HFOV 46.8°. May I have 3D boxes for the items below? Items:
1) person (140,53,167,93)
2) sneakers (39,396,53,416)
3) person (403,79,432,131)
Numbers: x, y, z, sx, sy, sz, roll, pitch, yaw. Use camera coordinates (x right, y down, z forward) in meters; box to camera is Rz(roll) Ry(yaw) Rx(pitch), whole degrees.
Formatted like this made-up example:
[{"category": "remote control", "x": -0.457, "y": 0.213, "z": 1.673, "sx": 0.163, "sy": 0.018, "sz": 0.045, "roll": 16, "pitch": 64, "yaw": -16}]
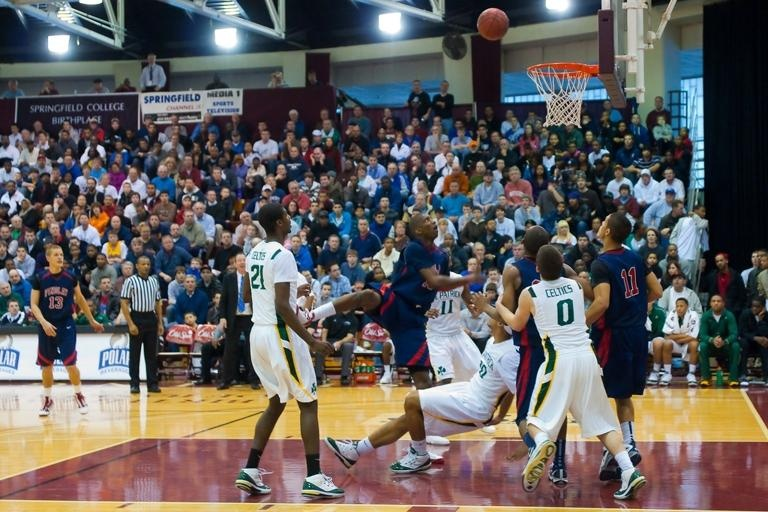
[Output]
[{"category": "person", "x": -7.456, "y": -5.801, "z": 28.578, "sx": 0.714, "sy": 1.241, "sz": 1.243, "roll": -3, "pitch": 0, "yaw": -31}, {"category": "sneakers", "x": -5.943, "y": 2.611, "z": 15.522, "sx": 0.196, "sy": 0.377, "sz": 0.271, "roll": -3, "pitch": 0, "yaw": -20}, {"category": "person", "x": 0.975, "y": -4.104, "z": 25.747, "sx": 0.696, "sy": 1.888, "sz": 0.546, "roll": 6, "pitch": 18, "yaw": 25}]
